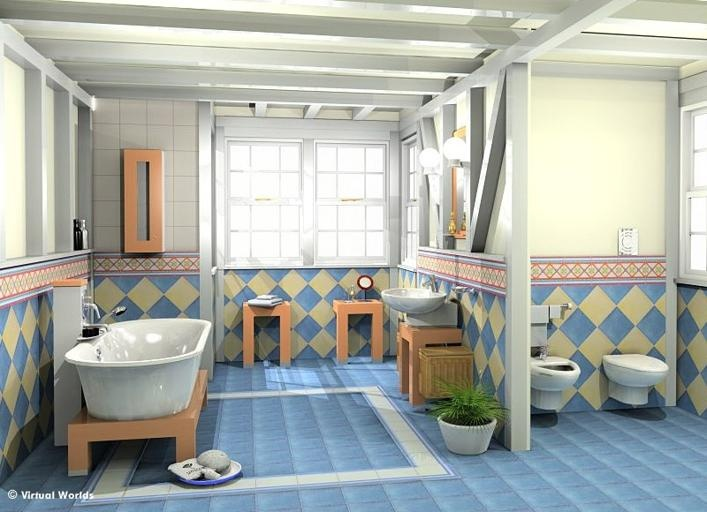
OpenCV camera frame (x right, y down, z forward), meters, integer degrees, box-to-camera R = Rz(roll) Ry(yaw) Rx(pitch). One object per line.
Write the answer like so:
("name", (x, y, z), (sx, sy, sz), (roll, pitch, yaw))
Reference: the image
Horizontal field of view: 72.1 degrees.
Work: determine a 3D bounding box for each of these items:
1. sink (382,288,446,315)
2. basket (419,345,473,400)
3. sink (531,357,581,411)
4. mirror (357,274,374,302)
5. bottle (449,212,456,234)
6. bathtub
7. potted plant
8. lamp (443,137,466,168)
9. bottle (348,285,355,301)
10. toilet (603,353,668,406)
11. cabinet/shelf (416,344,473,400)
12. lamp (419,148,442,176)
("sink", (0.687, 0.518, 5.537), (0.678, 0.229, 0.893), (1, 5, 7))
("basket", (0.991, 1.231, 5.171), (0.540, 0.490, 0.397), (-1, 3, -11))
("sink", (1.954, 1.294, 4.765), (0.439, 0.408, 0.518), (9, -11, -16))
("mirror", (0.188, 0.468, 7.217), (0.240, 0.372, 0.243), (0, 5, 0))
("bottle", (1.162, -0.388, 5.670), (0.071, 0.247, 0.144), (1, 5, 10))
("bathtub", (-1.754, 0.972, 3.970), (0.717, 0.338, 1.151), (-1, 0, -12))
("potted plant", (1.039, 1.442, 4.451), (0.571, 0.468, 0.555), (1, -4, -14))
("lamp", (1.124, -1.112, 5.239), (0.305, 0.351, 0.305), (-1, -2, 24))
("bottle", (-0.015, 0.543, 7.177), (0.081, 0.201, 0.166), (0, 5, 1))
("toilet", (2.918, 1.308, 5.005), (0.578, 0.448, 0.559), (0, 3, -18))
("cabinet/shelf", (0.988, 1.231, 5.179), (0.539, 0.490, 0.398), (0, 3, -3))
("lamp", (0.886, -1.096, 5.767), (0.321, 0.372, 0.314), (0, -1, -1))
